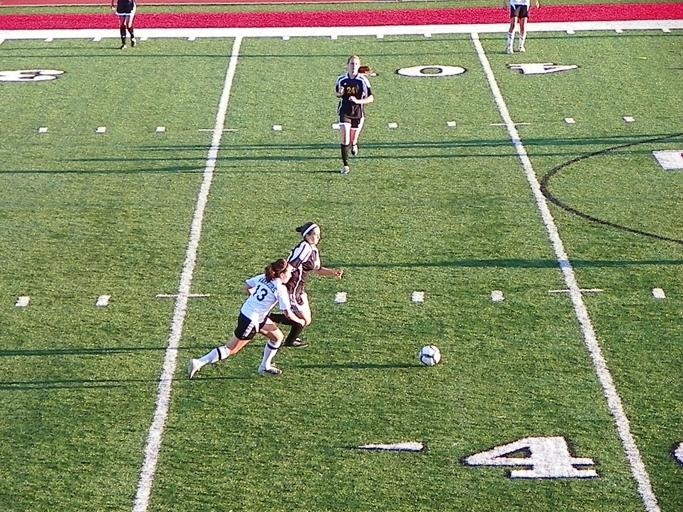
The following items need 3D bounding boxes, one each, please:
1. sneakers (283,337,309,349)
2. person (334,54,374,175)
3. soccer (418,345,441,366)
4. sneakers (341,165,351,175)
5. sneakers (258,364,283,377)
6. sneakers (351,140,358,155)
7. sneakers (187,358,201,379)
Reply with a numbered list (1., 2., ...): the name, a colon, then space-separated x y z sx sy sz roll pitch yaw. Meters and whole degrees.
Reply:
1. sneakers: -0.616 1.122 11.329 0.294 0.111 0.136 -4 22 -14
2. person: 0.215 -2.659 16.262 0.739 1.857 1.426 -5 48 8
3. soccer: 1.098 1.252 11.007 0.283 0.234 0.257 0 10 4
4. sneakers: 0.046 -1.635 16.319 0.198 0.178 0.143 13 26 43
5. sneakers: -0.899 1.429 10.908 0.310 0.116 0.105 2 51 -1
6. sneakers: 0.238 -2.114 17.081 0.123 0.104 0.265 -1 38 2
7. sneakers: -1.881 1.371 10.781 0.149 0.324 0.114 -30 66 -36
